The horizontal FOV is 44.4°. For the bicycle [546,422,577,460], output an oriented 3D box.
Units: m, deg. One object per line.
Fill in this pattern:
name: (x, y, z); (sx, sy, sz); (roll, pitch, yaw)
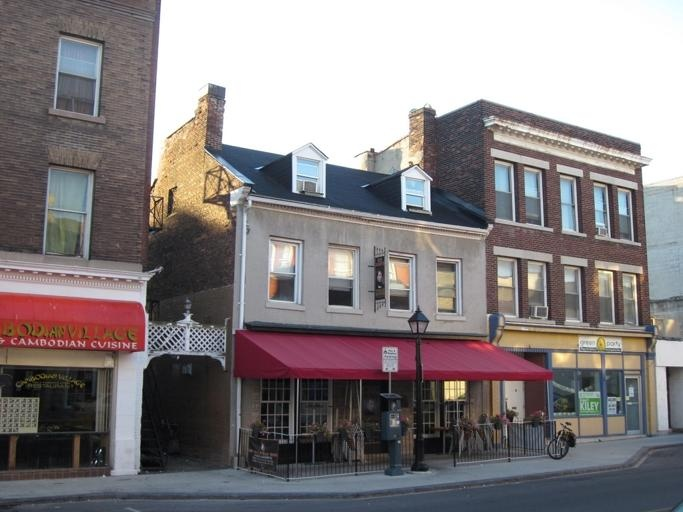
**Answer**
bicycle: (7.503, 6.407, 28.763); (0.908, 1.189, 1.219); (-5, -15, 11)
